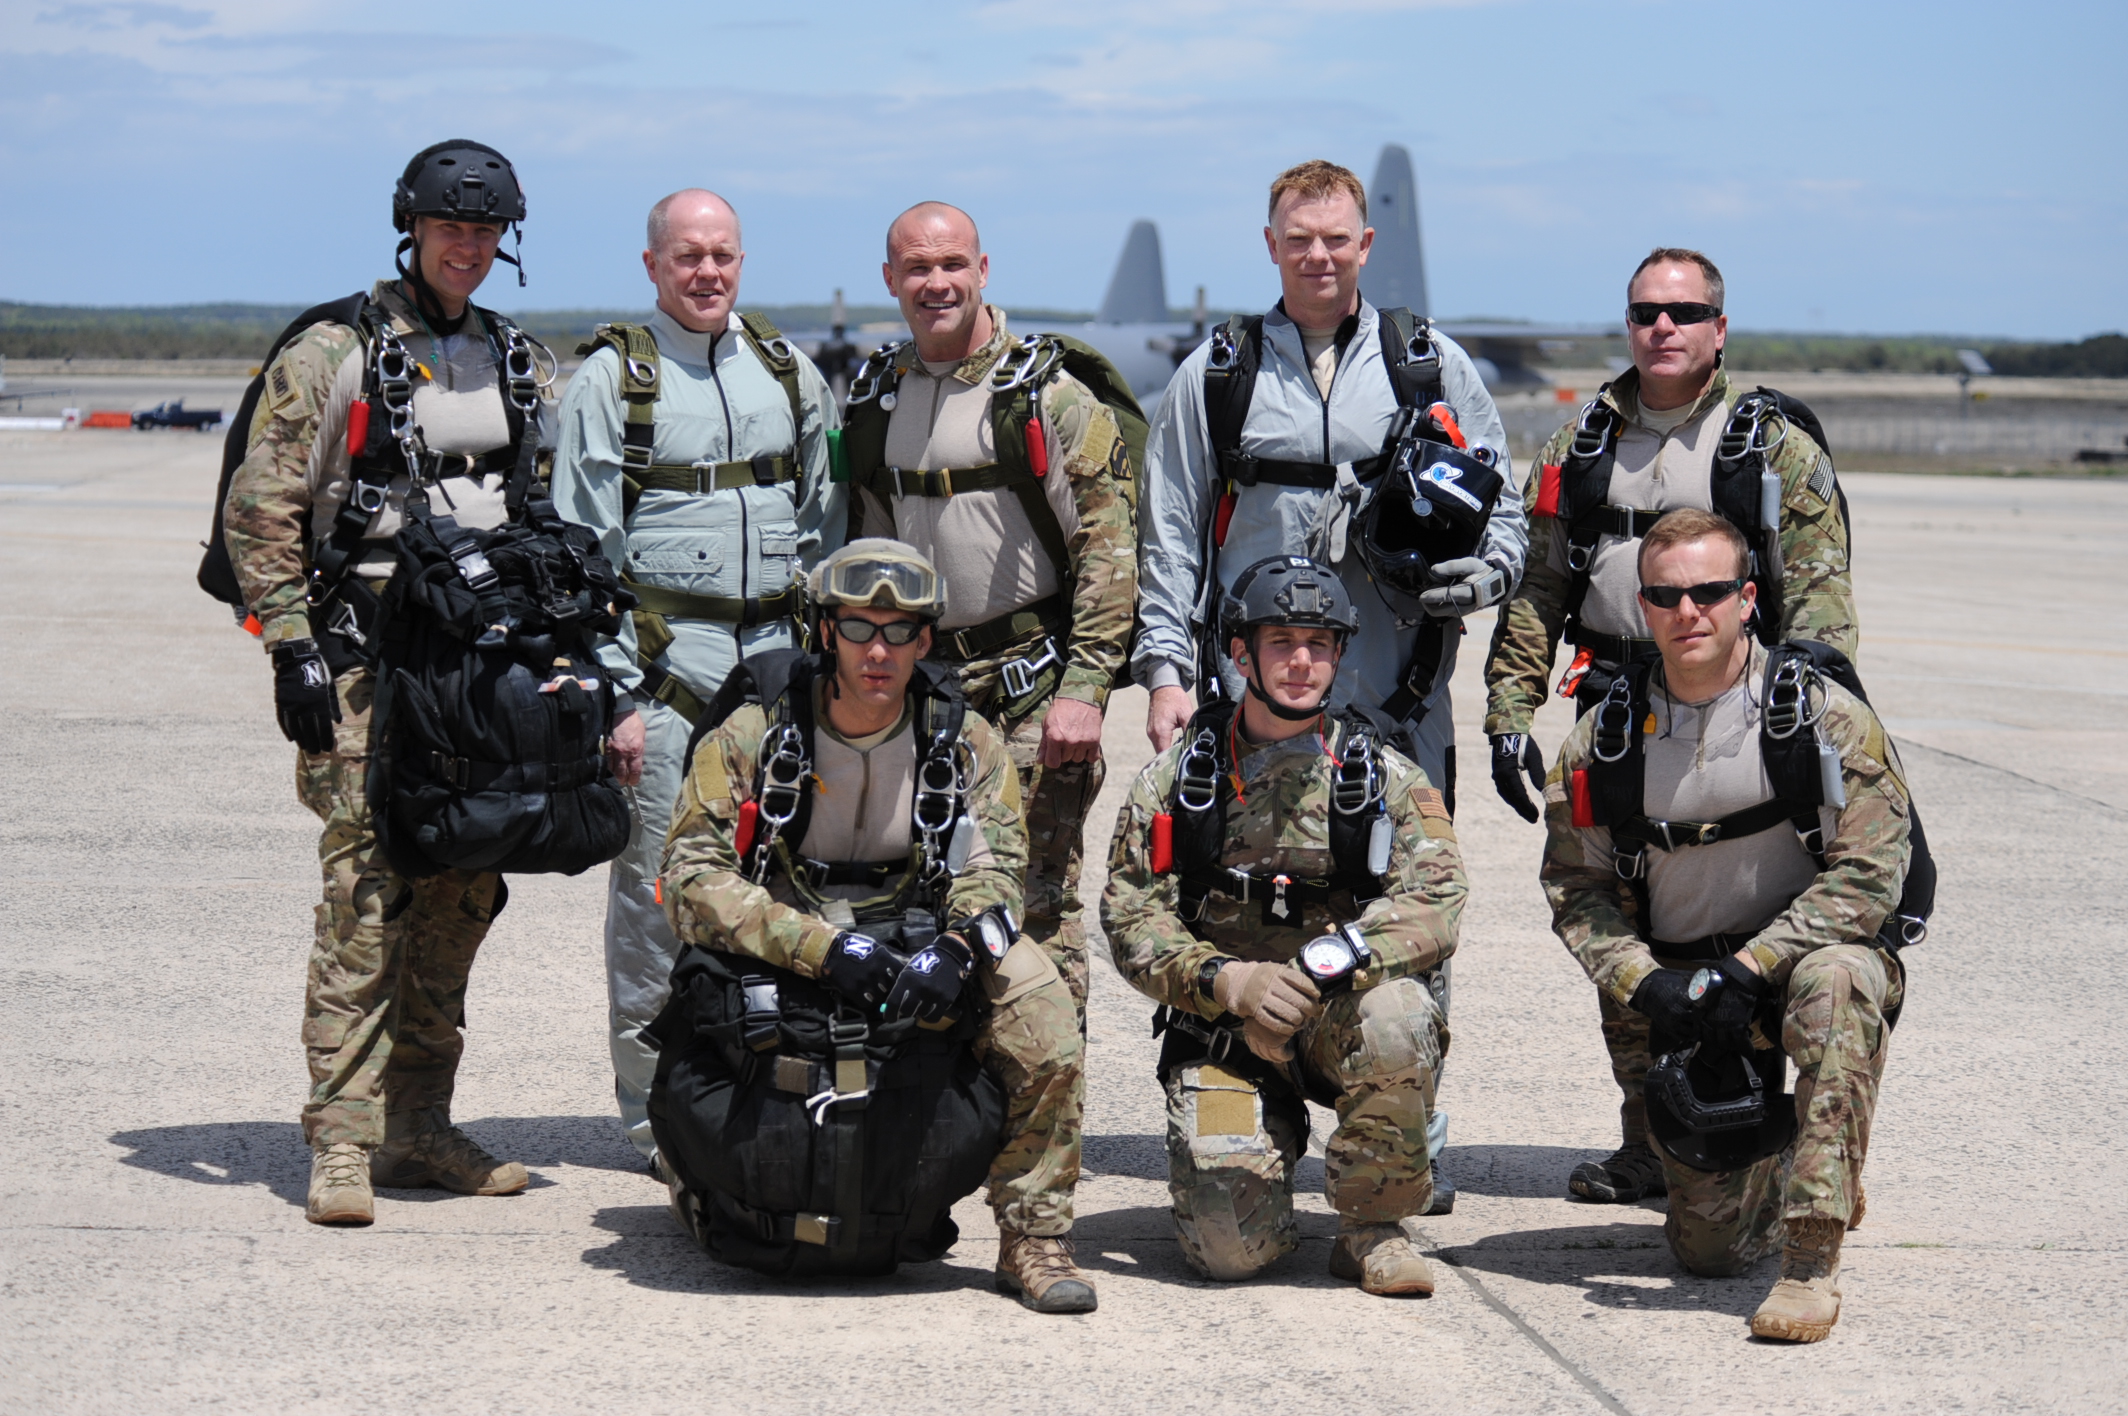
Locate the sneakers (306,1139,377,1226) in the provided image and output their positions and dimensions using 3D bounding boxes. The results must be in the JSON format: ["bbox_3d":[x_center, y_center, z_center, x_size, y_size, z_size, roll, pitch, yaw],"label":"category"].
[{"bbox_3d":[-2.448,1.598,9.083,0.225,0.263,0.242,-6,13,-17],"label":"sneakers"}]

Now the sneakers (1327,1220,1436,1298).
[{"bbox_3d":[1.049,1.802,8.874,0.171,0.157,0.329,-3,1,-31],"label":"sneakers"}]

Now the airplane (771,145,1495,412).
[{"bbox_3d":[3.498,-8.437,62.709,8.316,3.080,8.879,28,8,28],"label":"airplane"}]

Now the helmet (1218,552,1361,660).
[{"bbox_3d":[0.779,-0.294,9.151,0.444,0.288,0.509,-17,-24,13],"label":"helmet"}]

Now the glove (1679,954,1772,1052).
[{"bbox_3d":[2.152,0.983,8.792,0.245,0.121,0.321,-3,27,-19],"label":"glove"}]

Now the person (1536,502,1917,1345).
[{"bbox_3d":[2.290,0.643,8.901,0.954,2.514,1.225,-9,14,-29],"label":"person"}]

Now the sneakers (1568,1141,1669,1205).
[{"bbox_3d":[1.960,1.668,9.593,0.396,0.167,0.153,4,0,-27],"label":"sneakers"}]

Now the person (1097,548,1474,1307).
[{"bbox_3d":[0.723,0.705,8.939,1.171,2.290,0.818,0,13,8],"label":"person"}]

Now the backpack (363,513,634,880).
[{"bbox_3d":[-1.899,-0.047,9.069,0.905,1.165,0.446,-4,13,-8],"label":"backpack"}]

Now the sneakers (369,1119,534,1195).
[{"bbox_3d":[-2.157,1.559,9.393,0.609,0.265,0.218,1,1,-3],"label":"sneakers"}]

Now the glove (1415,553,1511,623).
[{"bbox_3d":[1.434,-0.430,9.538,0.276,0.122,0.205,-12,15,-38],"label":"glove"}]

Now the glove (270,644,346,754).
[{"bbox_3d":[-2.558,-0.037,9.138,0.259,0.337,0.107,-7,4,8],"label":"glove"}]
